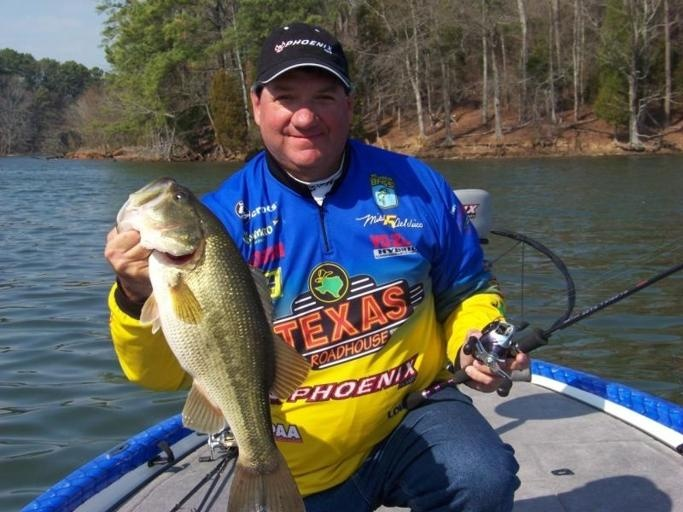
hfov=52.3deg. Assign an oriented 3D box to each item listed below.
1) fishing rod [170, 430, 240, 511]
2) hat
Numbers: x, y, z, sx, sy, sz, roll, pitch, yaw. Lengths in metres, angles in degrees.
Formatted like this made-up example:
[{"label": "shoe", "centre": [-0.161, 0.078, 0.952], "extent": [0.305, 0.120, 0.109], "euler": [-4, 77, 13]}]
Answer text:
[{"label": "fishing rod", "centre": [-0.769, 1.247, 4.126], "extent": [0.196, 0.217, 0.579], "euler": [-4, 24, 12]}, {"label": "hat", "centre": [-0.220, -1.100, 3.781], "extent": [0.540, 0.283, 0.626], "euler": [2, 12, 7]}]
